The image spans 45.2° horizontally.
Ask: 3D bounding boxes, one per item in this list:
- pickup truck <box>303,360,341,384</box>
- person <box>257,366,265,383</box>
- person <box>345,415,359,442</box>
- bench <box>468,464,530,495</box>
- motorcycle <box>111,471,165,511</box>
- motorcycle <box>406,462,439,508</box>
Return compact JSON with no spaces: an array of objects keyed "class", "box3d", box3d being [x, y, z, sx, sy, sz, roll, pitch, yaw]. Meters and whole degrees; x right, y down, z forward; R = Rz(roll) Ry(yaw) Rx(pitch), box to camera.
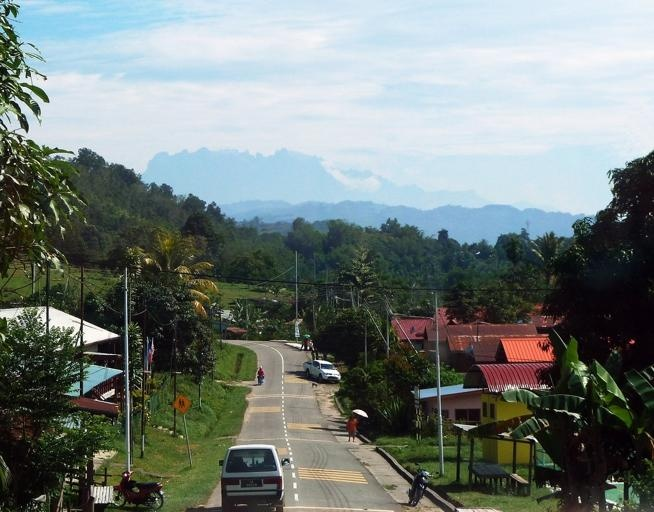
[{"class":"pickup truck","box3d":[-0.333,9.728,66.782,1.269,1.320,3.487,2,-6,-20]},{"class":"person","box3d":[-5.399,9.702,63.836,0.676,0.780,1.146,2,-4,-1]},{"class":"person","box3d":[1.475,9.948,45.426,0.875,2.151,0.658,2,15,8]},{"class":"bench","box3d":[6.624,8.395,29.861,2.523,0.934,1.874,-8,-13,38]},{"class":"motorcycle","box3d":[-6.331,7.962,26.716,1.713,1.319,0.957,4,-5,17]},{"class":"motorcycle","box3d":[3.483,8.401,28.708,0.688,1.075,1.731,29,2,1]}]
